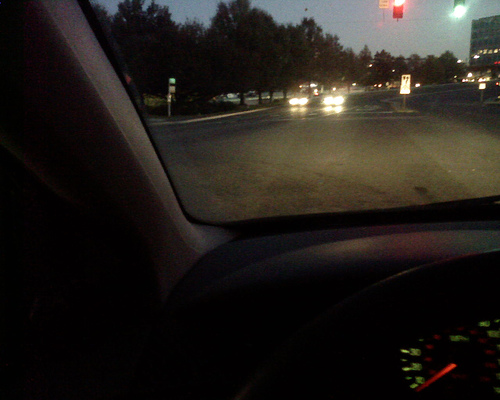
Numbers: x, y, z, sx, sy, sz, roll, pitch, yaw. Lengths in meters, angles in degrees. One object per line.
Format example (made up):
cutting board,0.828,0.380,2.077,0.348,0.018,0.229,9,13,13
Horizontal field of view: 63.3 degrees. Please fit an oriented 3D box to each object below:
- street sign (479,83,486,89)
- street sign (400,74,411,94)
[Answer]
street sign,10.454,-5.096,18.210,0.235,0.245,2.711,7,15,28
street sign,8.400,-6.199,21.899,0.471,0.947,2.216,4,13,19
